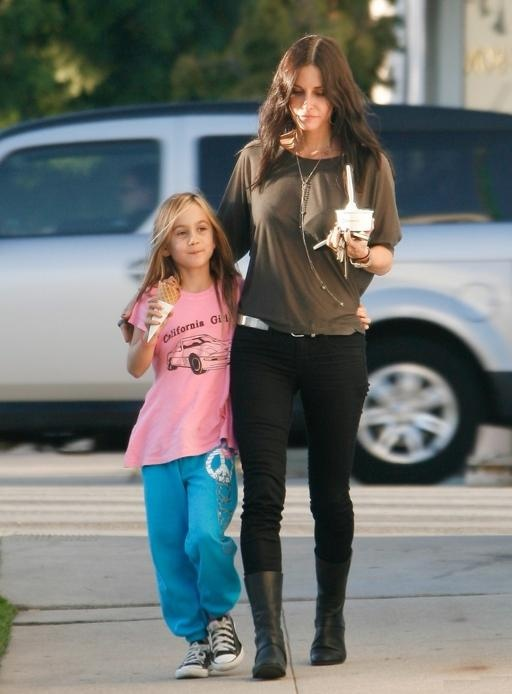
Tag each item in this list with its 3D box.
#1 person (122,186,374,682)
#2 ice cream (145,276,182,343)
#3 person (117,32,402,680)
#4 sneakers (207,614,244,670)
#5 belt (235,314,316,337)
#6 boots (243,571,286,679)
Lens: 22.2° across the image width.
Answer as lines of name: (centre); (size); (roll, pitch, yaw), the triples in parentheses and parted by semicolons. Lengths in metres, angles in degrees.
person: (-0.204, 0.254, 3.884); (0.517, 1.391, 0.434); (0, -2, 11)
ice cream: (-0.267, -0.110, 3.806); (0.088, 0.179, 0.084); (-3, 12, -12)
person: (0.082, 0.022, 3.825); (0.557, 1.738, 0.563); (0, 2, -3)
sneakers: (-0.090, 0.874, 3.801); (0.101, 0.166, 0.171); (-3, 25, -2)
belt: (0.000, -0.065, 3.818); (0.108, 0.032, 0.110); (15, -5, -7)
boots: (0.025, 0.773, 3.701); (0.096, 0.208, 0.236); (-2, 25, -2)
